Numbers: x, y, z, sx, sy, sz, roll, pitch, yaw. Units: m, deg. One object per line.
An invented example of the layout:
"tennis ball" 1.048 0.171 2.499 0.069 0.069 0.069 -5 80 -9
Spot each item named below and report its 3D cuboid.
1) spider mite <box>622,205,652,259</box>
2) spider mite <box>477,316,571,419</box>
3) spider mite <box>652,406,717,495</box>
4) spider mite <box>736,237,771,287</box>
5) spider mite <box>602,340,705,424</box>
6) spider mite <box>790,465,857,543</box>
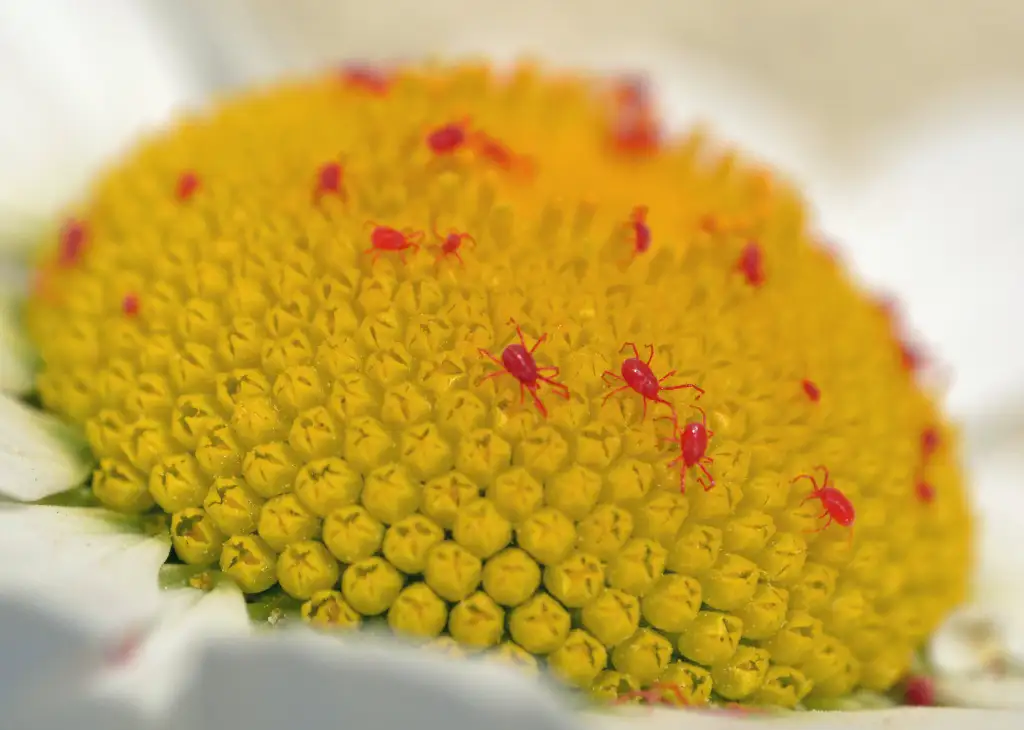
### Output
"spider mite" 0.284 -0.297 2.310 0.037 0.048 0.131 -1 76 -1
"spider mite" 0.030 0.008 2.113 0.211 0.170 0.058 20 53 -44
"spider mite" 0.368 0.176 2.148 0.102 0.164 0.050 2 3 -27
"spider mite" 0.549 -0.231 2.360 0.062 0.023 0.105 5 79 -18
"spider mite" 0.281 0.030 2.161 0.159 0.049 0.151 -35 72 -30
"spider mite" 0.687 0.297 2.235 0.133 0.045 0.152 36 60 -10
